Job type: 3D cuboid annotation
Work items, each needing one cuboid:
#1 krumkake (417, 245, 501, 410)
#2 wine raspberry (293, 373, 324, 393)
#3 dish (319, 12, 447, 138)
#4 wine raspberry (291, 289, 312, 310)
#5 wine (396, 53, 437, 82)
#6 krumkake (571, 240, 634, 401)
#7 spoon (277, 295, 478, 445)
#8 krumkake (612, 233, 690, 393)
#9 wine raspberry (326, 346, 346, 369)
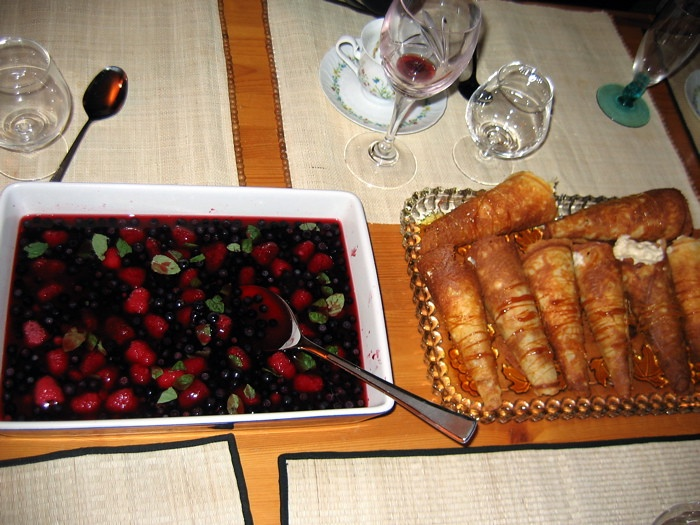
[{"bbox_3d":[0.302,0.157,1.635,0.143,0.124,0.473,-25,75,17],"label":"krumkake"},{"bbox_3d":[-0.105,0.307,1.458,0.063,0.037,0.039,4,48,-7],"label":"wine raspberry"},{"bbox_3d":[0.113,-0.594,1.971,0.387,0.171,0.422,-12,75,-2],"label":"dish"},{"bbox_3d":[-0.129,0.099,1.540,0.046,0.047,0.058,0,82,8],"label":"wine raspberry"},{"bbox_3d":[0.186,-0.551,1.643,0.105,0.012,0.106,30,67,1],"label":"wine"},{"bbox_3d":[0.710,0.155,1.690,0.117,0.117,0.462,-7,73,-1],"label":"krumkake"},{"bbox_3d":[0.112,0.319,1.535,0.704,0.072,0.219,29,74,4],"label":"spoon"},{"bbox_3d":[0.866,0.149,1.724,0.131,0.134,0.463,-5,74,-12],"label":"krumkake"},{"bbox_3d":[-0.037,0.239,1.503,0.041,0.041,0.043,-40,101,8],"label":"wine raspberry"}]
